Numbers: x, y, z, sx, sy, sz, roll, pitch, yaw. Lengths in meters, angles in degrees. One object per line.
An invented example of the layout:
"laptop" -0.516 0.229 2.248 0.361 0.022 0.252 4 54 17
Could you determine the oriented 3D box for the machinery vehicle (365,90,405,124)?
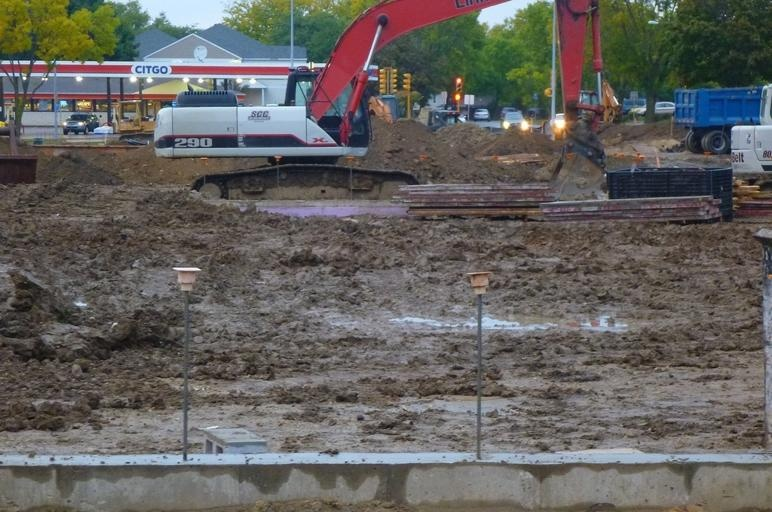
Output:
"machinery vehicle" 0.047 -6.804 96.913 1.927 1.333 2.871 1 24 -6
